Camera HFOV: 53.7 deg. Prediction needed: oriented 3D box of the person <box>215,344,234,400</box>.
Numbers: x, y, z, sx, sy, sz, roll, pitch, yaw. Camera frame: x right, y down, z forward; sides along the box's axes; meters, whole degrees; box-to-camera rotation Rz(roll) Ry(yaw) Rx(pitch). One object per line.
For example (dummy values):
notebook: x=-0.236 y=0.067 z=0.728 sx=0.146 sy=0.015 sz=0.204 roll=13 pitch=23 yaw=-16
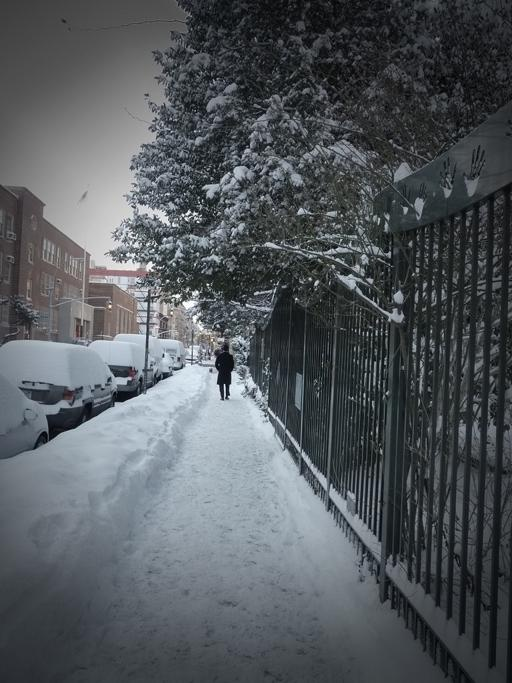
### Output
person: x=-1.026 y=0.853 z=16.102 sx=0.505 sy=0.556 sz=2.068 roll=15 pitch=-45 yaw=12
